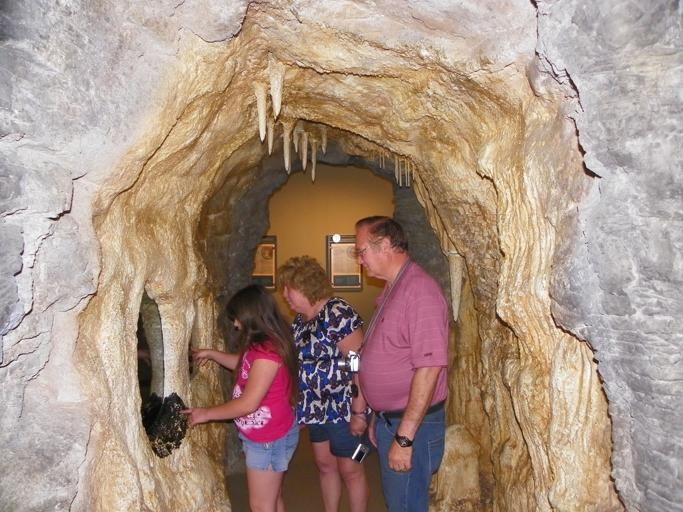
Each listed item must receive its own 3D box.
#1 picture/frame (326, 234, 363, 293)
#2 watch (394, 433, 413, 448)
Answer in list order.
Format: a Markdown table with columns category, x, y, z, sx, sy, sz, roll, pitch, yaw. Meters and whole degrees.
| category | x | y | z | sx | sy | sz | roll | pitch | yaw |
| --- | --- | --- | --- | --- | --- | --- | --- | --- | --- |
| picture/frame | 0.030 | 0.075 | 5.969 | 0.331 | 0.559 | 0.055 | 1 | -20 | -2 |
| watch | 0.263 | 0.800 | 2.826 | 0.052 | 0.034 | 0.056 | 7 | -8 | 22 |
